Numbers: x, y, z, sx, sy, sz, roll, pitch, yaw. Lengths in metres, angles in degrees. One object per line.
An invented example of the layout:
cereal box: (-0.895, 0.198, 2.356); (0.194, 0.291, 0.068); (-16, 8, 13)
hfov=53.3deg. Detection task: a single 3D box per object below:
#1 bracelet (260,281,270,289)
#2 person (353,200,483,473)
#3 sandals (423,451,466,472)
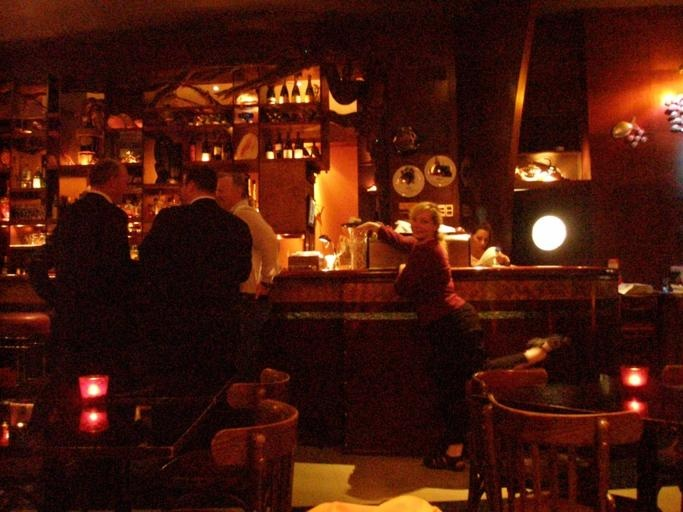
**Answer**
bracelet: (-0.564, 0.205, 4.981); (0.057, 0.039, 0.056); (2, 0, -26)
person: (0.642, 0.542, 4.725); (0.590, 1.789, 0.596); (-1, -2, -4)
sandals: (0.690, 1.389, 4.644); (0.233, 0.092, 0.121); (4, -2, 12)
